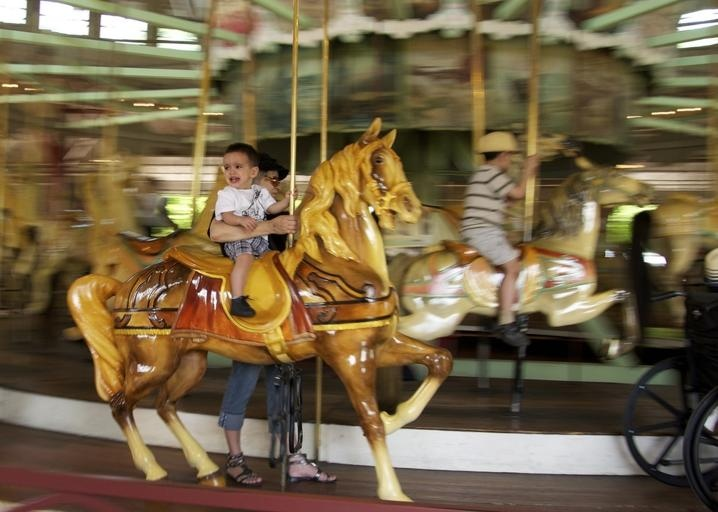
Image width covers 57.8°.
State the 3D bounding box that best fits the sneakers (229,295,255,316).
[{"bbox_3d":[-0.679,0.293,3.758,0.189,0.081,0.095,0,1,12],"label":"sneakers"}]
